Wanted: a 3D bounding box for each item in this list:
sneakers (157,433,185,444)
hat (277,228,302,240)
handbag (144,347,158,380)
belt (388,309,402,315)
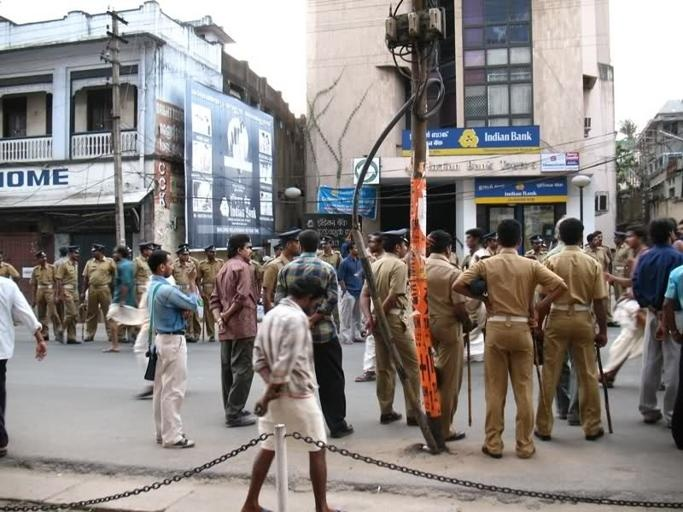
[{"bbox_3d":[-2.939,3.174,17.673,0.528,0.238,0.184,0,2,-2],"label":"sneakers"},{"bbox_3d":[-0.910,-0.378,18.852,0.286,0.123,0.251,-3,6,-20],"label":"hat"},{"bbox_3d":[-3.328,1.890,17.924,0.137,0.447,0.576,-1,1,-22],"label":"handbag"},{"bbox_3d":[0.967,0.996,18.140,0.248,0.110,0.025,-1,1,-11],"label":"belt"}]
